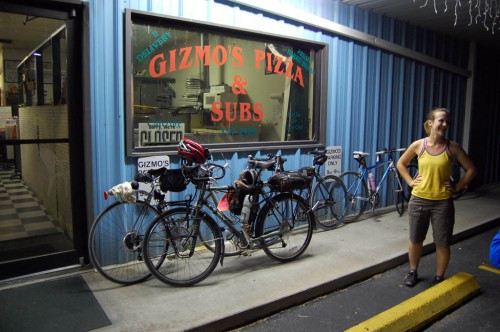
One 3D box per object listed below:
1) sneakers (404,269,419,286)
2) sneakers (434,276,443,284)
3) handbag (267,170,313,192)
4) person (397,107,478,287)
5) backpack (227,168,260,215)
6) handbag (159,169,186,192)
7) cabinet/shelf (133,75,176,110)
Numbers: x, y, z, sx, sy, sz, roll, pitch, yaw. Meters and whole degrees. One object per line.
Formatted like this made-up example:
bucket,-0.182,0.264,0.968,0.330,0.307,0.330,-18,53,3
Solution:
sneakers,2.316,1.612,5.604,0.111,0.164,0.321,7,0,32
sneakers,2.659,1.590,5.516,0.060,0.120,0.160,3,8,39
handbag,0.590,0.179,5.867,0.443,0.195,0.330,0,2,-33
person,2.523,0.461,5.474,0.959,2.479,0.622,9,15,33
backpack,-0.119,0.364,5.774,0.357,0.731,0.278,9,-1,2
handbag,-1.055,0.171,5.483,0.410,0.447,0.237,-4,35,-15
cabinet/shelf,-1.589,-1.149,6.009,0.352,0.455,0.622,16,15,42
